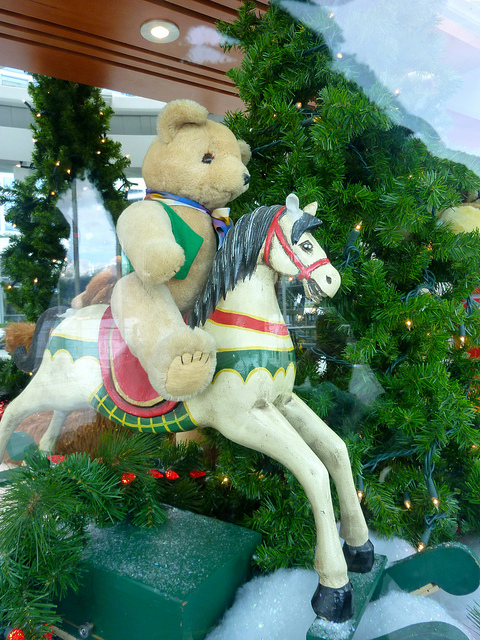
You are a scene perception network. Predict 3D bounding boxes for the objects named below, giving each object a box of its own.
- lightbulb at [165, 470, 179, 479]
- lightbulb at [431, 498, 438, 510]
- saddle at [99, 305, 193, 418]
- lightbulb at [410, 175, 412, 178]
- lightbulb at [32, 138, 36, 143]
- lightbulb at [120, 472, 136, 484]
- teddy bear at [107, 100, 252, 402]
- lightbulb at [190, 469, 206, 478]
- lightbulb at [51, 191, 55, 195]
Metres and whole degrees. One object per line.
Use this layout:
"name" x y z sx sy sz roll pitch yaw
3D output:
"lightbulb" -0.162 0.376 1.141 0.027 0.018 0.007 7 10 10
"lightbulb" 0.445 0.425 1.087 0.017 0.009 0.019 39 27 -38
"saddle" -0.164 0.074 0.940 0.171 0.208 0.060 26 16 26
"lightbulb" 0.362 -0.306 1.003 0.003 0.005 0.006 5 31 -14
"lightbulb" -0.407 -0.359 0.939 0.004 0.007 0.008 17 31 6
"lightbulb" -0.238 0.337 1.006 0.028 0.010 0.025 18 65 -15
"teddy bear" -0.127 -0.140 0.909 0.234 0.497 0.520 11 31 -4
"lightbulb" -0.113 0.412 1.260 0.041 0.022 0.019 2 -13 -25
"lightbulb" -0.379 -0.259 0.961 0.006 0.006 0.007 -31 0 -7
